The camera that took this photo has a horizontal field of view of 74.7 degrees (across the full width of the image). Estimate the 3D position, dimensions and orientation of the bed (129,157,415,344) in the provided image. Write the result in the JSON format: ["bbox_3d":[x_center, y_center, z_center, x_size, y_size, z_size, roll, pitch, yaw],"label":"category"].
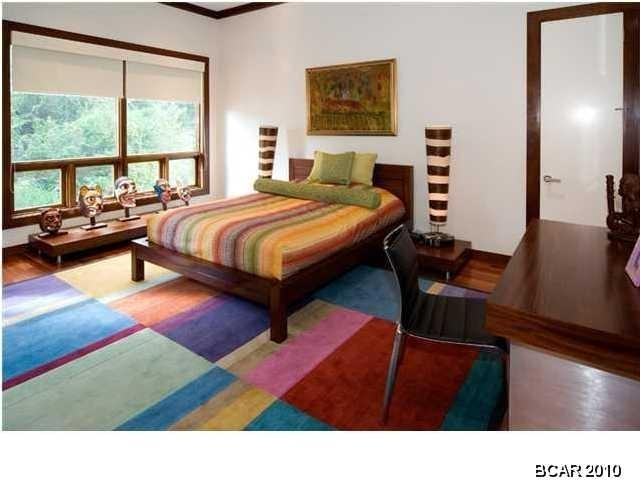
[{"bbox_3d":[-0.638,-0.298,4.119,2.219,0.938,1.768,7,26,35],"label":"bed"}]

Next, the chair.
[{"bbox_3d":[0.727,0.327,2.890,1.013,1.377,0.947,0,11,21],"label":"chair"}]
